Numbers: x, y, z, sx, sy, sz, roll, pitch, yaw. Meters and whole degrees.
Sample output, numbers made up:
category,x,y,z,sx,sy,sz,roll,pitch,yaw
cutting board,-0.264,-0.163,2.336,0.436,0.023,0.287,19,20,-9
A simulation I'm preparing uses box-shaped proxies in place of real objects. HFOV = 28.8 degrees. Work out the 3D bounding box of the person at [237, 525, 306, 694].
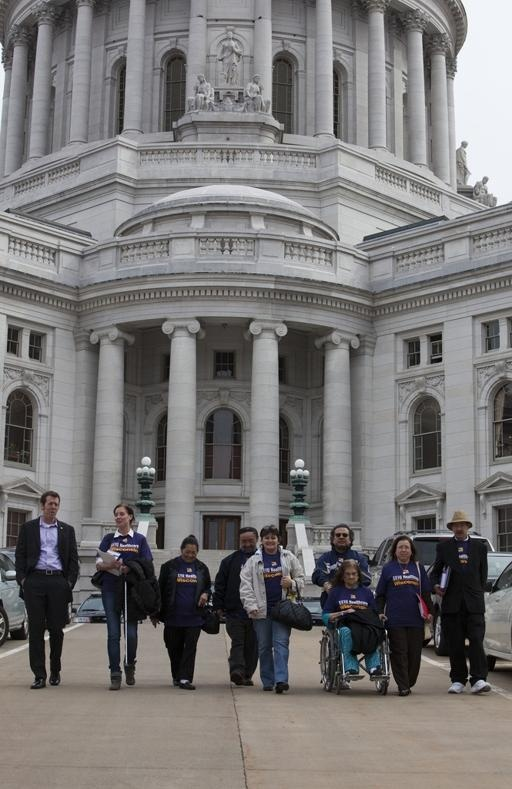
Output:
category,x,y,z,sx,sy,sz,roll,pitch,yaw
person,0.210,2.385,11.146,0.739,1.807,0.740,2,-3,-10

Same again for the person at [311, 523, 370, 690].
category,x,y,z,sx,sy,sz,roll,pitch,yaw
person,0.988,2.239,11.869,0.631,1.216,0.608,5,-12,0

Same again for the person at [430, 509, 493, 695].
category,x,y,z,sx,sy,sz,roll,pitch,yaw
person,2.439,2.417,11.576,0.822,2.001,0.833,8,-17,-24

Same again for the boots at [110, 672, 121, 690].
category,x,y,z,sx,sy,sz,roll,pitch,yaw
boots,-1.550,3.177,11.032,0.121,0.143,0.340,-1,-17,-1

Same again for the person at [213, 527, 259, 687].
category,x,y,z,sx,sy,sz,roll,pitch,yaw
person,-0.212,2.464,11.702,0.628,1.708,0.697,2,-4,-28

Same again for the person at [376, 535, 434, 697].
category,x,y,z,sx,sy,sz,roll,pitch,yaw
person,1.714,2.534,11.449,0.614,1.756,0.658,0,-4,0

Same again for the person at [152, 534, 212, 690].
category,x,y,z,sx,sy,sz,roll,pitch,yaw
person,-0.833,2.508,11.584,0.674,1.671,0.712,1,-4,-6

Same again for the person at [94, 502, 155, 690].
category,x,y,z,sx,sy,sz,roll,pitch,yaw
person,-1.509,2.316,11.426,0.730,2.069,0.934,2,-8,-9

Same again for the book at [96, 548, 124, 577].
category,x,y,z,sx,sy,sz,roll,pitch,yaw
book,-1.678,1.926,11.427,0.323,0.277,0.083,14,13,24

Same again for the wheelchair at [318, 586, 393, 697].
category,x,y,z,sx,sy,sz,roll,pitch,yaw
wheelchair,1.144,2.592,11.114,0.825,1.389,1.014,6,-15,-29

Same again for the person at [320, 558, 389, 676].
category,x,y,z,sx,sy,sz,roll,pitch,yaw
person,1.075,2.485,11.037,0.626,1.304,0.640,1,-5,-9

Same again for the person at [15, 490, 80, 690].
category,x,y,z,sx,sy,sz,roll,pitch,yaw
person,-2.373,2.212,11.360,0.696,2.102,0.648,2,-6,-28
